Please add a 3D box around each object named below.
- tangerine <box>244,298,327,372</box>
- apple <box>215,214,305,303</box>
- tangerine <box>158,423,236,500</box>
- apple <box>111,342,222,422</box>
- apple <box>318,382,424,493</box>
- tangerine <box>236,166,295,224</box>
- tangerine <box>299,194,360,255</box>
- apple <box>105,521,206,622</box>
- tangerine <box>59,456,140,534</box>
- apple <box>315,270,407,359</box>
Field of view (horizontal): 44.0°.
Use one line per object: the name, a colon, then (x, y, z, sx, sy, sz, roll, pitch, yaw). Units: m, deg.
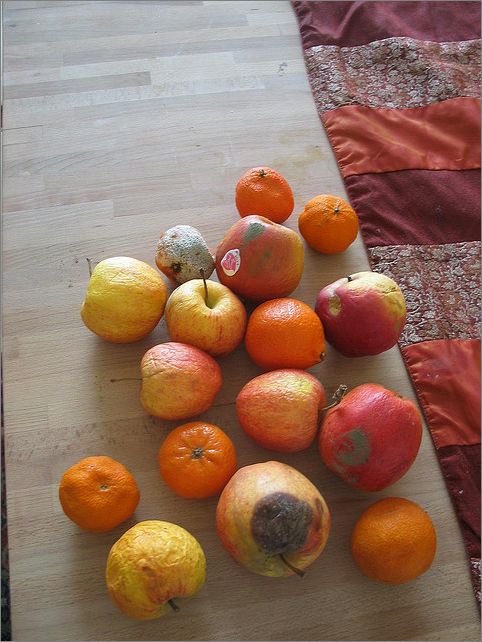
tangerine: (0.055, 0.018, 0.751, 0.110, 0.098, 0.107, -5, 8, -4)
apple: (0.028, -0.079, 0.785, 0.119, 0.096, 0.111, 10, 20, 10)
tangerine: (-0.047, 0.154, 0.663, 0.098, 0.066, 0.077, 2, 84, 0)
apple: (-0.066, 0.071, 0.715, 0.089, 0.083, 0.084, -15, 87, 1)
apple: (0.147, 0.137, 0.689, 0.107, 0.118, 0.102, 29, 55, 19)
tangerine: (0.030, -0.179, 0.859, 0.096, 0.082, 0.094, 5, 10, 28)
tangerine: (0.124, -0.137, 0.847, 0.080, 0.070, 0.055, 26, 54, 18)
apple: (-0.092, 0.269, 0.635, 0.097, 0.112, 0.088, -32, 59, -26)
tangerine: (-0.157, 0.195, 0.686, 0.109, 0.066, 0.096, 2, 8, 2)
apple: (0.147, -0.001, 0.757, 0.097, 0.121, 0.087, -9, 52, -10)
